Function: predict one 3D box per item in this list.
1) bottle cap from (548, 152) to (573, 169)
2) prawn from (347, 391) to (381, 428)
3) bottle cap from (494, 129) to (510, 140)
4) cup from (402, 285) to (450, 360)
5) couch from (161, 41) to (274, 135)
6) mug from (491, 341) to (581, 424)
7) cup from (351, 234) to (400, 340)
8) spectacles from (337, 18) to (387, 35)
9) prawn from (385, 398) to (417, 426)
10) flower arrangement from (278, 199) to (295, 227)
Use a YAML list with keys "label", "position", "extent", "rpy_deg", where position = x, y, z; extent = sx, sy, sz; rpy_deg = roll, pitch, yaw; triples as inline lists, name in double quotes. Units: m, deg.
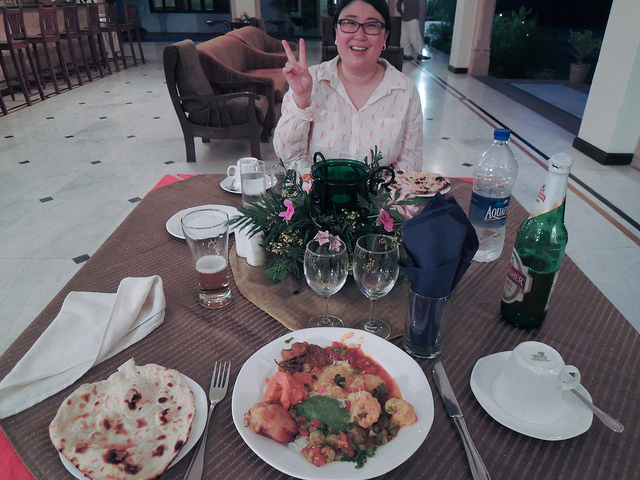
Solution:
- label: "bottle cap"
  position: [0.505, -0.167, 0.948]
  extent: [0.036, 0.013, 0.038]
  rpy_deg: [-1, 41, 9]
- label: "prawn"
  position: [0.085, 0.330, 0.879]
  extent: [0.065, 0.041, 0.053]
  rpy_deg: [3, 35, 6]
- label: "bottle cap"
  position: [0.473, -0.275, 1.176]
  extent: [0.038, 0.038, 0.038]
  rpy_deg: [9, 36, 16]
- label: "cup"
  position: [0.238, 0.194, 1.037]
  extent: [0.089, 0.176, 0.092]
  rpy_deg: [0, 30, 0]
- label: "couch"
  position: [-0.875, -1.289, 3.861]
  extent: [0.669, 0.736, 1.068]
  rpy_deg: [2, 23, 2]
- label: "mug"
  position: [0.448, 0.283, 0.932]
  extent: [0.160, 0.139, 0.143]
  rpy_deg: [3, 14, 8]
- label: "cup"
  position: [0.126, 0.106, 1.060]
  extent: [0.103, 0.237, 0.103]
  rpy_deg: [0, 15, 0]
- label: "spectacles"
  position: [0.161, -0.858, 1.807]
  extent: [0.184, 0.058, 0.051]
  rpy_deg: [1, 34, 3]
- label: "prawn"
  position: [0.158, 0.335, 0.880]
  extent: [0.040, 0.022, 0.051]
  rpy_deg: [-23, 35, -31]
- label: "flower arrangement"
  position: [-0.079, -0.071, 1.130]
  extent: [0.018, 0.053, 0.043]
  rpy_deg: [-16, 65, -29]
